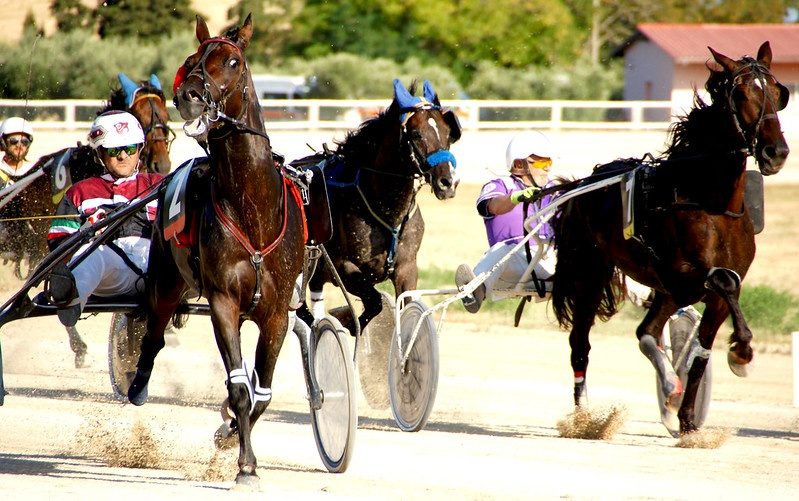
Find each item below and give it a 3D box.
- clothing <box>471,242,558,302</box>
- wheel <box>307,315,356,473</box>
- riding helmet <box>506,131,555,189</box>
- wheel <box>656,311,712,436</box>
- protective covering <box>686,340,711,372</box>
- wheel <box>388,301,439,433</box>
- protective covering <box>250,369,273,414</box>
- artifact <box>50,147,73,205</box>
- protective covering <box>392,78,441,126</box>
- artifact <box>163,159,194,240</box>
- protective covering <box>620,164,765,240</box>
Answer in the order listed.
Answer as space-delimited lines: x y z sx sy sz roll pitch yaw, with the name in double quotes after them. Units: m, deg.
1.325 0.441 15.352 0.434 0.472 1.261 -17 23 -10 "clothing"
-0.709 1.566 14.050 0.304 1.090 1.104 -5 49 -10 "wheel"
1.628 -1.067 15.943 0.605 0.754 0.529 -4 2 24 "riding helmet"
3.272 1.394 15.319 0.705 1.392 0.321 -2 -1 -16 "wheel"
3.289 1.148 14.723 0.230 0.326 0.227 35 17 26 "protective covering"
0.158 1.297 14.767 0.210 1.245 1.204 0 12 -19 "wheel"
-1.407 1.430 13.795 0.252 0.293 0.354 -2 8 -3 "protective covering"
-3.963 -0.884 15.889 0.293 0.599 0.443 3 1 11 "artifact"
0.193 -1.604 14.725 0.476 0.513 0.486 -4 5 -24 "protective covering"
-2.293 -0.466 13.751 0.189 0.813 0.359 19 -9 -28 "artifact"
3.757 -0.540 15.122 1.222 0.838 0.294 2 9 -4 "protective covering"
